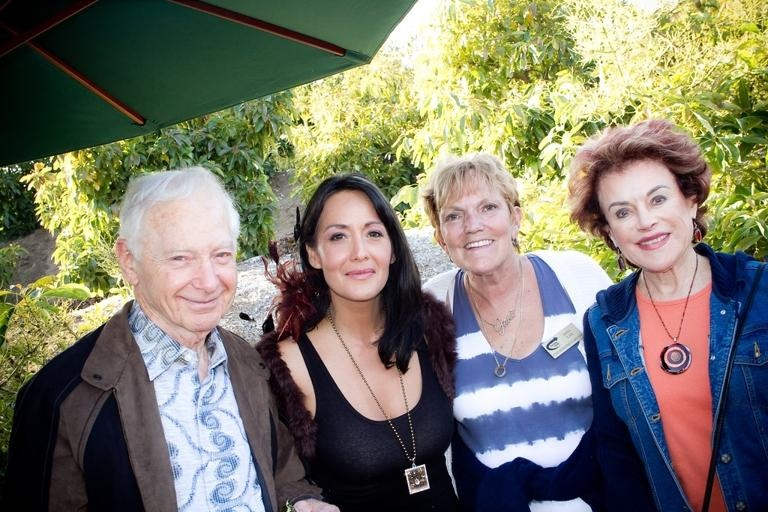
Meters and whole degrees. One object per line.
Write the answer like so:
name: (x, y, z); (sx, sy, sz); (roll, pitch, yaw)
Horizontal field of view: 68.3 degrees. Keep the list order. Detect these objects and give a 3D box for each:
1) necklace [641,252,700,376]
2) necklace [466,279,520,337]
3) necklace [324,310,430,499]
necklace: (1.510, 0.306, 2.881); (0.274, 0.634, 0.179); (-14, -3, 27)
necklace: (0.746, 0.367, 3.734); (0.247, 0.379, 0.091); (-15, -17, 7)
necklace: (0.017, 0.861, 3.351); (0.337, 1.076, 0.078); (-15, -12, -19)
